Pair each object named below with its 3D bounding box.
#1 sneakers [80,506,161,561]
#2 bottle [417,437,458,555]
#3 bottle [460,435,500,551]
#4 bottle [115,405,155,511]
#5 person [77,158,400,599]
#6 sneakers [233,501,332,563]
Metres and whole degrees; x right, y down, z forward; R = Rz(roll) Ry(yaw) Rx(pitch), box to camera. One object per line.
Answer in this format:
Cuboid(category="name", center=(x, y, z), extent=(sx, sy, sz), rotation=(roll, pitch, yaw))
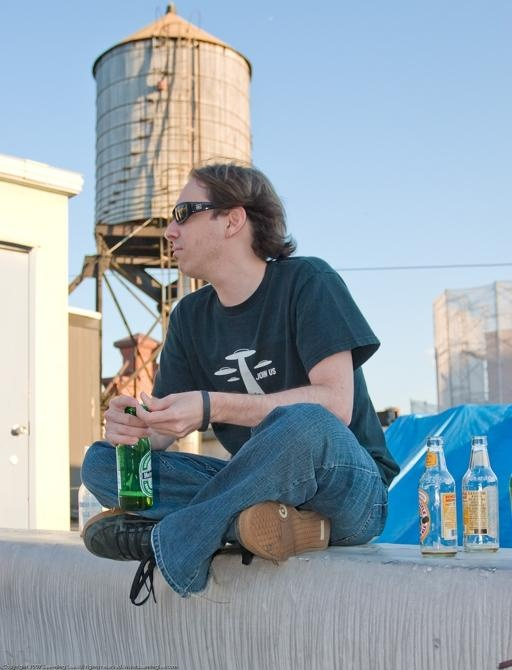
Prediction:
Cuboid(category="sneakers", center=(-0.419, 0.628, 4.859), extent=(0.277, 0.153, 0.122), rotation=(-5, -7, 40))
Cuboid(category="bottle", center=(0.569, 0.512, 4.933), extent=(0.114, 0.372, 0.175), rotation=(-1, -5, 5))
Cuboid(category="bottle", center=(0.720, 0.516, 5.039), extent=(0.113, 0.369, 0.168), rotation=(-1, -5, 6))
Cuboid(category="bottle", center=(-0.393, 0.453, 5.027), extent=(0.122, 0.231, 0.126), rotation=(0, -5, 0))
Cuboid(category="person", center=(-0.079, 0.124, 5.177), extent=(0.955, 1.514, 0.917), rotation=(-3, -6, 28))
Cuboid(category="sneakers", center=(0.084, 0.616, 4.841), extent=(0.118, 0.161, 0.375), rotation=(-8, -15, 40))
